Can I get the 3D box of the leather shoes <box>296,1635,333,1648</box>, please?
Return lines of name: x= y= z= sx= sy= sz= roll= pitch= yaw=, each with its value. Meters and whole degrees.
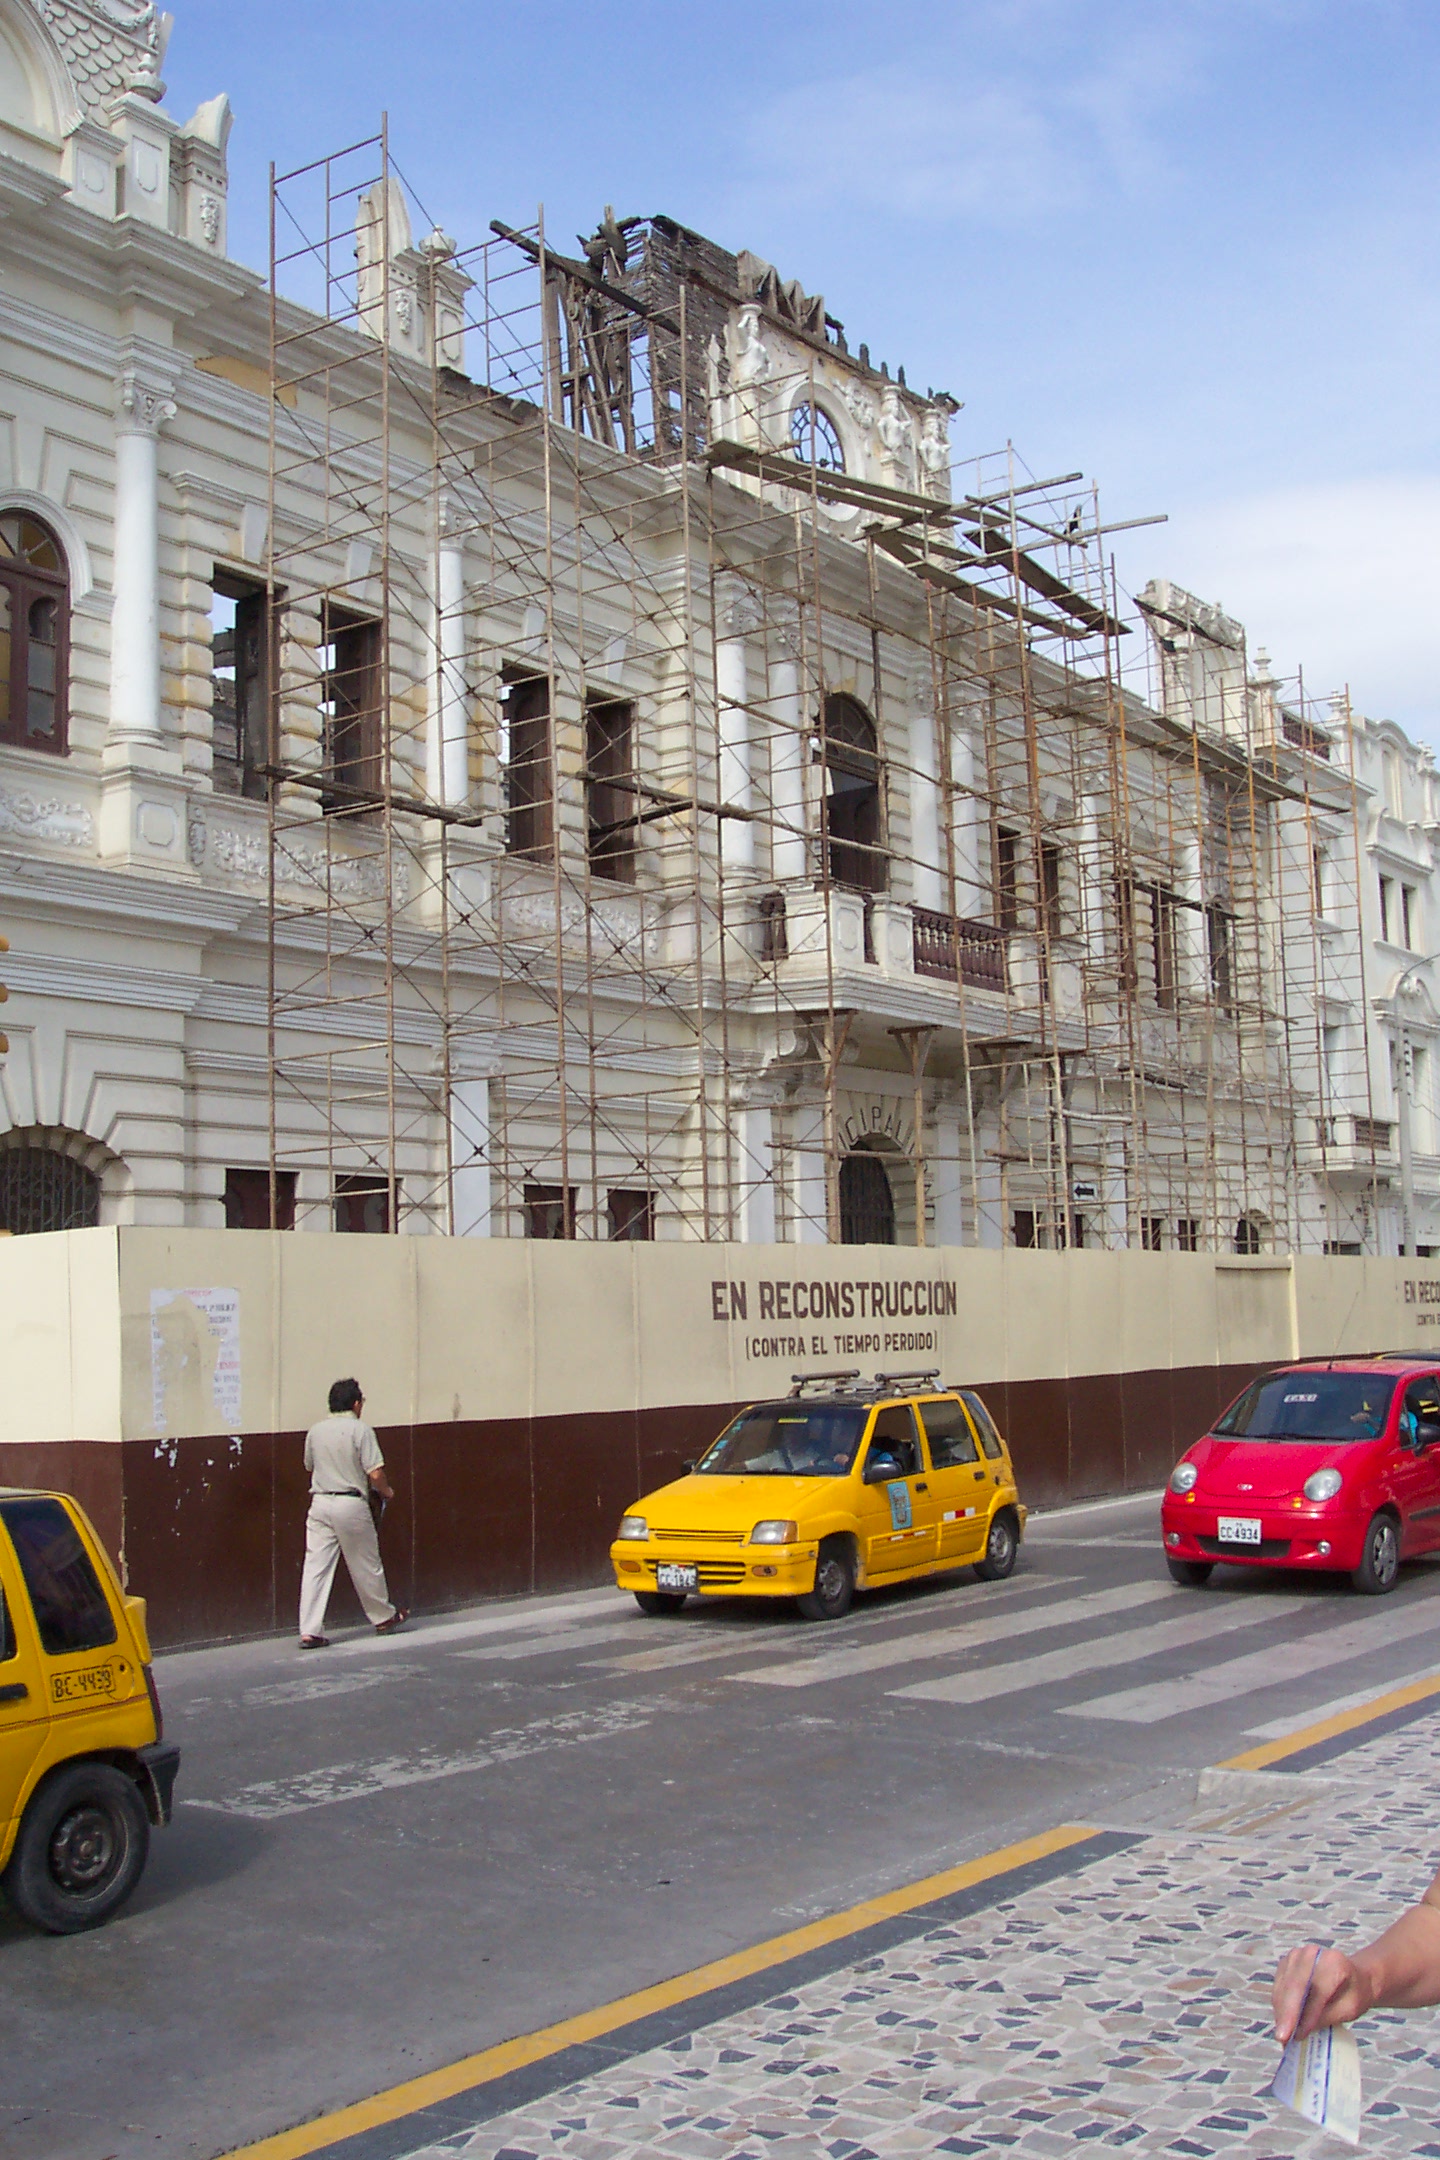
leather shoes: x=-2.564 y=3.592 z=13.686 sx=0.078 sy=0.096 sz=0.238 roll=-2 pitch=-10 yaw=15

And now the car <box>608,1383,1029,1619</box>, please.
car: x=0.613 y=2.922 z=14.998 sx=1.563 sy=1.264 sz=2.430 roll=-11 pitch=-13 yaw=37

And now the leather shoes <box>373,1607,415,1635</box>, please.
leather shoes: x=-2.182 y=3.629 z=14.333 sx=0.100 sy=0.122 sz=0.268 roll=5 pitch=12 yaw=29

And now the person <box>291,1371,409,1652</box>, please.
person: x=-2.443 y=2.834 z=14.176 sx=0.661 sy=1.693 sz=1.235 roll=0 pitch=-5 yaw=-9
